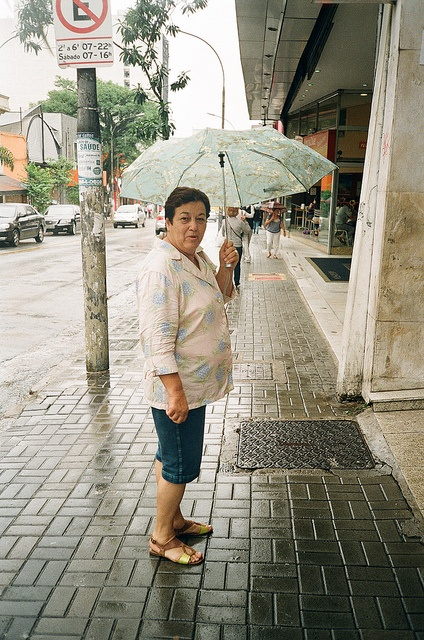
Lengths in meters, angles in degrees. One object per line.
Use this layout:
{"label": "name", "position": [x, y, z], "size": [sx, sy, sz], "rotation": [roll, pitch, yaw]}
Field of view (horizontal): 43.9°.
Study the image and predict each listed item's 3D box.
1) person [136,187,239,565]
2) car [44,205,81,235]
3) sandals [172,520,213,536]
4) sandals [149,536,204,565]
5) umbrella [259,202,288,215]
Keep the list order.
{"label": "person", "position": [-0.126, 0.275, 2.436], "size": [0.382, 1.743, 0.693], "rotation": [2, 10, 18]}
{"label": "car", "position": [-8.468, -5.682, 29.727], "size": [1.667, 1.706, 2.445], "rotation": [-3, 9, -8]}
{"label": "sandals", "position": [-0.099, 1.062, 2.731], "size": [0.204, 0.051, 0.072], "rotation": [-1, 5, -17]}
{"label": "sandals", "position": [-0.172, 1.079, 2.485], "size": [0.225, 0.082, 0.107], "rotation": [0, -3, 11]}
{"label": "umbrella", "position": [2.025, -3.719, 17.218], "size": [0.815, 0.249, 0.774], "rotation": [3, 12, -5]}
